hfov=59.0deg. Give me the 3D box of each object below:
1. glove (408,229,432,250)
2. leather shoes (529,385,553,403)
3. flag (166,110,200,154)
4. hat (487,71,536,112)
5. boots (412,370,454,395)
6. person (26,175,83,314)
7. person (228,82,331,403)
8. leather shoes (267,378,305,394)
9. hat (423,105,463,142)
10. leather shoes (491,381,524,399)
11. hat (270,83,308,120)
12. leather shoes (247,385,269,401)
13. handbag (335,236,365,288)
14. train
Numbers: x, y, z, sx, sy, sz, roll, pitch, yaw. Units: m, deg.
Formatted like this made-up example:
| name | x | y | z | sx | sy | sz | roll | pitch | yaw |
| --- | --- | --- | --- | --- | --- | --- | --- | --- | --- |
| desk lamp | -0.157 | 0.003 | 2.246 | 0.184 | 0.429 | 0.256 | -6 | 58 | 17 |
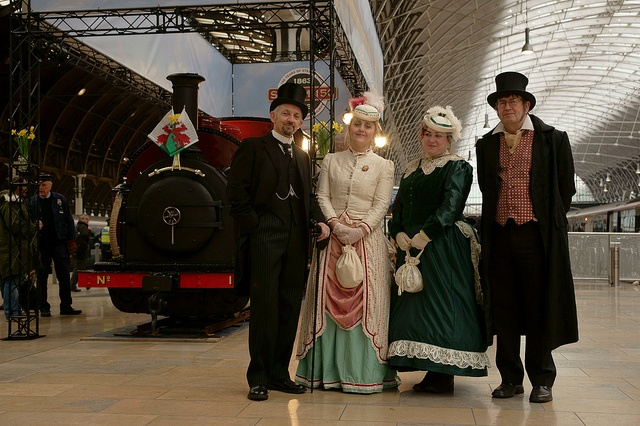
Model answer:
| name | x | y | z | sx | sy | sz | roll | pitch | yaw |
| --- | --- | --- | --- | --- | --- | --- | --- | --- | --- |
| glove | 1.102 | 0.290 | 6.213 | 0.227 | 0.207 | 0.134 | -2 | -8 | 14 |
| leather shoes | 2.335 | 1.901 | 5.947 | 0.269 | 0.158 | 0.106 | 1 | -7 | -8 |
| flag | -2.090 | -1.223 | 8.559 | 0.586 | 0.620 | 0.088 | -13 | 1 | 16 |
| hat | 2.173 | -1.360 | 6.271 | 0.504 | 0.246 | 0.493 | 27 | -26 | -38 |
| boots | 1.259 | 1.879 | 6.240 | 0.524 | 0.219 | 0.186 | 11 | -12 | -37 |
| person | -5.212 | 0.608 | 10.943 | 0.956 | 2.798 | 0.868 | -3 | -1 | -26 |
| person | -0.482 | 0.273 | 6.222 | 1.055 | 3.416 | 0.593 | 1 | -7 | -9 |
| leather shoes | -0.347 | 1.895 | 6.223 | 0.351 | 0.125 | 0.142 | -1 | -6 | 11 |
| hat | 1.384 | -1.036 | 6.531 | 0.511 | 0.230 | 0.422 | 6 | 12 | 4 |
| leather shoes | 2.028 | 1.918 | 6.141 | 0.399 | 0.158 | 0.131 | 9 | -8 | -34 |
| hat | -0.340 | -1.295 | 6.312 | 0.385 | 0.225 | 0.468 | -3 | 5 | -37 |
| leather shoes | -0.651 | 1.886 | 5.953 | 0.204 | 0.151 | 0.116 | 1 | -7 | -7 |
| handbag | 0.362 | 0.564 | 6.251 | 0.311 | 0.422 | 0.240 | 0 | 10 | 38 |
| train | -2.188 | -0.425 | 10.840 | 2.299 | 3.821 | 6.210 | 3 | 10 | 1 |
